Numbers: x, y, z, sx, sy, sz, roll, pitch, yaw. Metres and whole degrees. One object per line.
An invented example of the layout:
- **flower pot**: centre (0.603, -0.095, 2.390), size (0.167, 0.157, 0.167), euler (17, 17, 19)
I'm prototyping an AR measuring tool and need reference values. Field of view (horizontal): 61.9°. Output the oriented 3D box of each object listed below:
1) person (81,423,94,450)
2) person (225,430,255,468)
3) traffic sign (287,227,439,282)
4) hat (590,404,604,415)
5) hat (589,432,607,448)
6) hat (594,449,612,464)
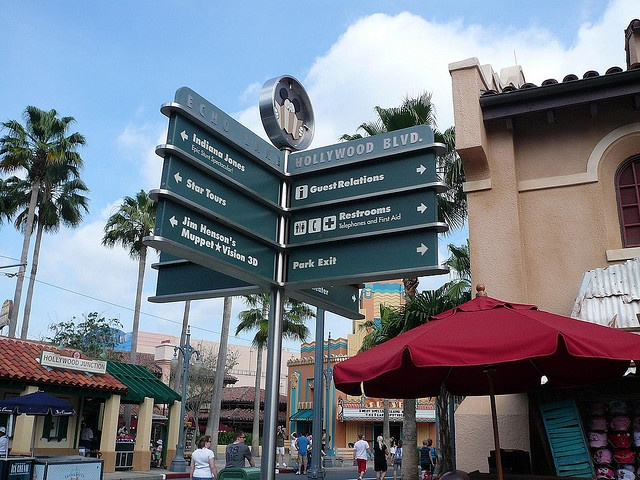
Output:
- **person**: centre (-10.432, 8.787, 23.736), size (0.520, 1.015, 1.058), euler (9, -24, -22)
- **person**: centre (-1.790, 4.632, 11.923), size (0.621, 0.784, 0.994), euler (3, -23, -8)
- **traffic sign**: centre (0.594, 0.258, 7.654), size (2.288, 0.656, 0.122), euler (-9, -23, 18)
- **hat**: centre (4.561, 2.775, 8.788), size (0.182, 0.191, 0.051), euler (-7, -19, 24)
- **hat**: centre (4.506, 3.224, 8.688), size (0.256, 0.250, 0.201), euler (-23, -19, 22)
- **hat**: centre (4.519, 3.451, 8.559), size (0.224, 0.217, 0.070), euler (-10, 2, 10)
